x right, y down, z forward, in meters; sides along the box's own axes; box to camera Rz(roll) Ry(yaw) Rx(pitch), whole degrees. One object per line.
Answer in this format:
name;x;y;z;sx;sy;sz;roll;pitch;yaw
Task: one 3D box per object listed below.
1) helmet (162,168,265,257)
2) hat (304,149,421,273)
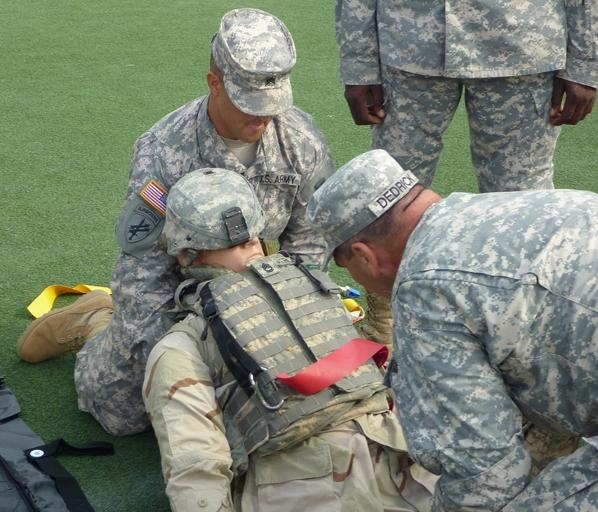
helmet;-0.322;-0.177;2.401;0.412;0.236;0.320;3;44;2
hat;0.161;-0.124;1.856;0.173;0.338;0.228;48;23;-15
